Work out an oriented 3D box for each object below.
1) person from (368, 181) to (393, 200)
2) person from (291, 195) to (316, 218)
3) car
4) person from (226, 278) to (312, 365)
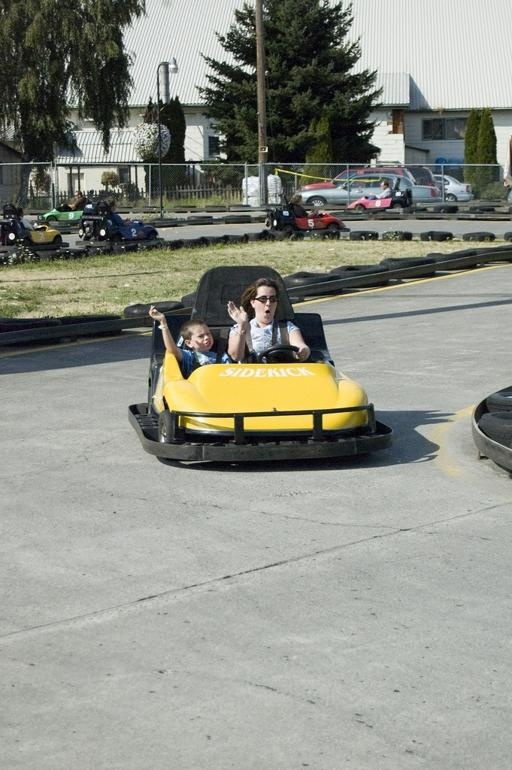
[{"bbox_3d":[4.173,-6.503,31.653,0.750,0.695,0.936,0,11,8],"label":"person"},{"bbox_3d":[1.144,-4.450,23.624,0.582,0.541,0.734,-2,11,-4],"label":"person"},{"bbox_3d":[4.698,-7.294,34.736,5.385,1.425,3.610,-10,14,-41],"label":"car"},{"bbox_3d":[0.081,-0.293,5.784,0.523,0.411,0.712,-3,47,-5],"label":"person"}]
